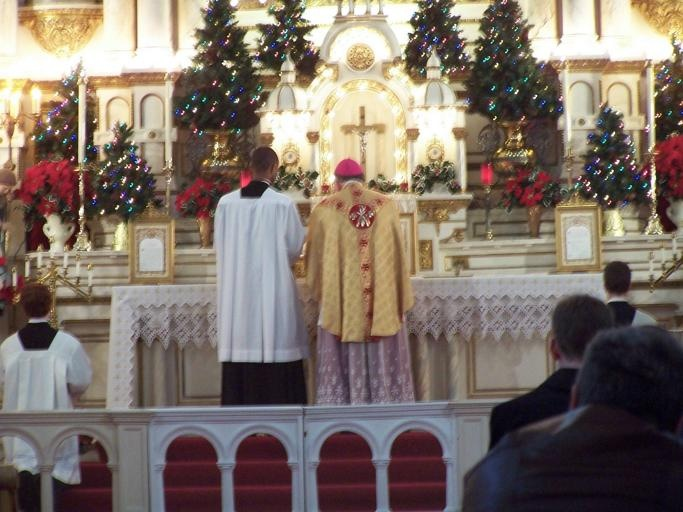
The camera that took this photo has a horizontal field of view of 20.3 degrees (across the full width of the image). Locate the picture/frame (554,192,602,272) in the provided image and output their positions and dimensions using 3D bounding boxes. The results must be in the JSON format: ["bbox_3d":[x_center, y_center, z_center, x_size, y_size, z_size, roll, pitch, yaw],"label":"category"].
[{"bbox_3d":[2.259,-0.157,18.439,0.404,0.677,0.169,-3,-5,15],"label":"picture/frame"}]

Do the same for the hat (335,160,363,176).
[{"bbox_3d":[0.048,-0.765,17.130,0.227,0.109,0.225,4,20,11],"label":"hat"}]

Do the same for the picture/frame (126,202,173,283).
[{"bbox_3d":[-1.838,-0.056,18.367,0.433,0.730,0.047,-1,3,-18],"label":"picture/frame"}]

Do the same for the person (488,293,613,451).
[{"bbox_3d":[1.553,0.874,14.343,0.808,1.326,0.701,3,7,16],"label":"person"}]

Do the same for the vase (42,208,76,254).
[{"bbox_3d":[-2.958,-0.212,19.851,0.444,0.517,0.429,0,2,-7],"label":"vase"}]

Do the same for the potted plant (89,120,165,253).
[{"bbox_3d":[-2.251,-0.748,19.819,0.576,1.499,0.487,2,7,16],"label":"potted plant"}]

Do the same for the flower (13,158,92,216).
[{"bbox_3d":[-2.963,-0.667,19.627,0.642,0.660,0.625,0,6,2],"label":"flower"}]

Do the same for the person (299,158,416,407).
[{"bbox_3d":[0.140,0.271,16.740,0.826,2.038,0.692,-2,8,-1],"label":"person"}]

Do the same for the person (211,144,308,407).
[{"bbox_3d":[-0.640,0.416,17.110,0.913,2.706,0.901,1,3,21],"label":"person"}]
